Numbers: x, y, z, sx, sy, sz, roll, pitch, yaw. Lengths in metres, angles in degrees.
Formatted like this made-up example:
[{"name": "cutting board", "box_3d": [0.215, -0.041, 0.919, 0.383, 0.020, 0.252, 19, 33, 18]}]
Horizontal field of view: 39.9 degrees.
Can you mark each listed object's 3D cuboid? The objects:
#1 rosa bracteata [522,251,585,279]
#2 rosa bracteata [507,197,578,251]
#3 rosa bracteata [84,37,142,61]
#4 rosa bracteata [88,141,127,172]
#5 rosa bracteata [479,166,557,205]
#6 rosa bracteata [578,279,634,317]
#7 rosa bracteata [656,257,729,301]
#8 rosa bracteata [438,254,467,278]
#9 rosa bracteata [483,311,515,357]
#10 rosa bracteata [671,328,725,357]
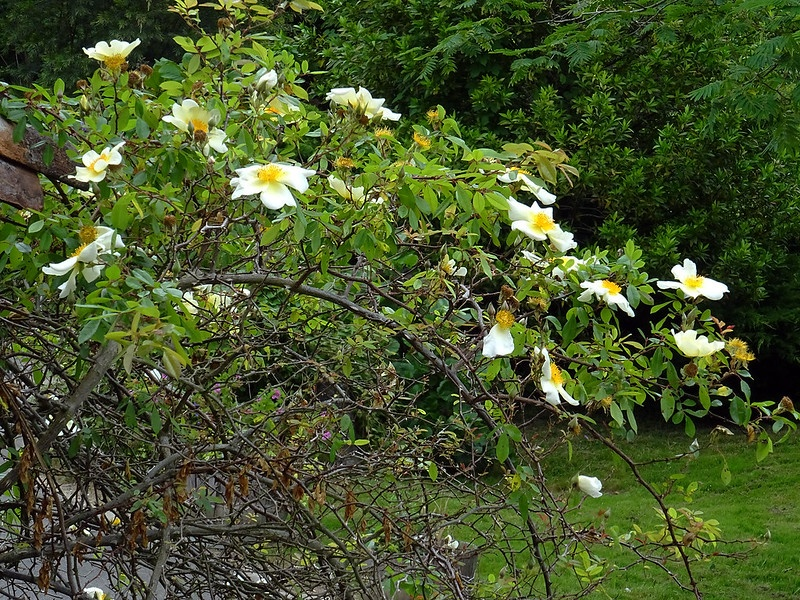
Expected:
[{"name": "rosa bracteata", "box_3d": [0.654, -0.163, 4.629, 0.285, 0.135, 0.118, -1, -10, -21]}, {"name": "rosa bracteata", "box_3d": [0.593, -0.354, 4.530, 0.225, 0.088, 0.220, -18, -10, 11]}, {"name": "rosa bracteata", "box_3d": [-1.230, -1.096, 4.749, 0.196, 0.096, 0.202, -13, 7, -1]}, {"name": "rosa bracteata", "box_3d": [-1.196, -0.598, 4.458, 0.158, 0.123, 0.140, -1, -10, -16]}, {"name": "rosa bracteata", "box_3d": [0.499, -0.482, 4.563, 0.342, 0.179, 0.197, 1, -11, -27]}, {"name": "rosa bracteata", "box_3d": [0.857, -0.018, 4.644, 0.168, 0.100, 0.174, 28, 3, 16]}, {"name": "rosa bracteata", "box_3d": [1.219, -0.088, 4.722, 0.312, 0.198, 0.250, -3, -10, -10]}, {"name": "rosa bracteata", "box_3d": [0.216, -0.142, 4.713, 0.097, 0.090, 0.038, 34, -51, -20]}, {"name": "rosa bracteata", "box_3d": [0.390, 0.133, 4.435, 0.129, 0.187, 0.144, -7, -10, 16]}, {"name": "rosa bracteata", "box_3d": [1.219, 0.183, 4.588, 0.134, 0.063, 0.135, 15, 12, 7]}]
